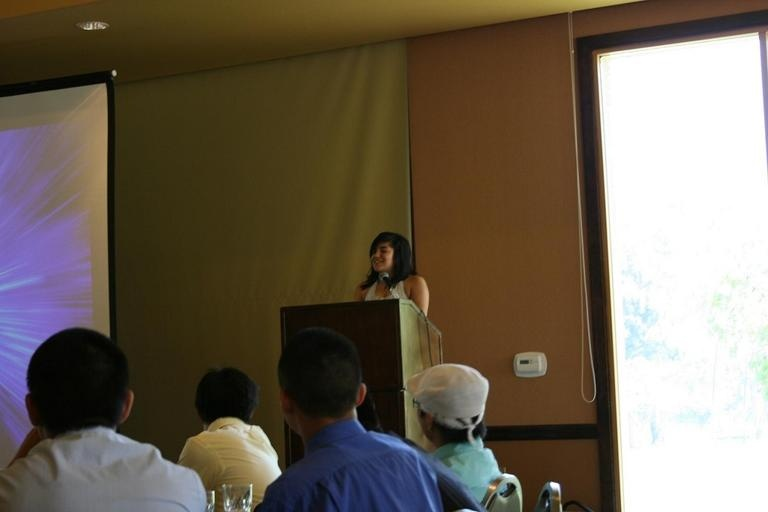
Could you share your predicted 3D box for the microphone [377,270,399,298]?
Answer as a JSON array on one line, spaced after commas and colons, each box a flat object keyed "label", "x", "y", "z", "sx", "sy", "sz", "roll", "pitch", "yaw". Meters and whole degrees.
[{"label": "microphone", "x": 0.016, "y": 0.154, "z": 4.463, "sx": 0.062, "sy": 0.094, "sz": 0.280, "roll": -5, "pitch": 13, "yaw": -5}]

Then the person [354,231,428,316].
[{"label": "person", "x": 0.035, "y": 0.237, "z": 5.046, "sx": 0.527, "sy": 0.780, "sz": 0.366, "roll": -6, "pitch": -24, "yaw": 14}]

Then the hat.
[{"label": "hat", "x": 0.310, "y": 0.635, "z": 3.357, "sx": 0.378, "sy": 0.268, "sz": 0.492, "roll": 4, "pitch": 2, "yaw": -6}]
